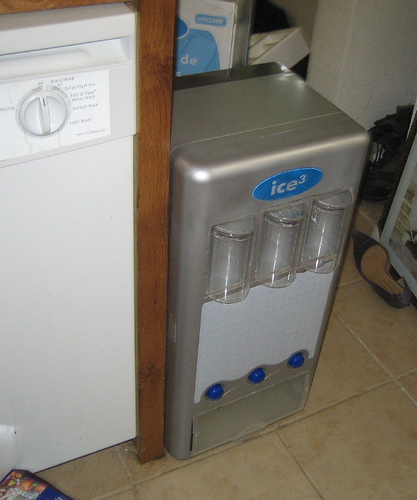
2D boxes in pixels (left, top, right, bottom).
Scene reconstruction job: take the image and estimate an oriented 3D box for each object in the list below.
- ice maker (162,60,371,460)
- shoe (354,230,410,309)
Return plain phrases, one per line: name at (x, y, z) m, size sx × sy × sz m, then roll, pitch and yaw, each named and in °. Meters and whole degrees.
ice maker at (0.023, 0.063, 1.095) m, size 0.522 × 0.765 × 0.488 m, roll -2°, pitch 32°, yaw -8°
shoe at (0.639, 0.071, 1.676) m, size 0.086 × 0.113 × 0.300 m, roll 12°, pitch 46°, yaw -56°
